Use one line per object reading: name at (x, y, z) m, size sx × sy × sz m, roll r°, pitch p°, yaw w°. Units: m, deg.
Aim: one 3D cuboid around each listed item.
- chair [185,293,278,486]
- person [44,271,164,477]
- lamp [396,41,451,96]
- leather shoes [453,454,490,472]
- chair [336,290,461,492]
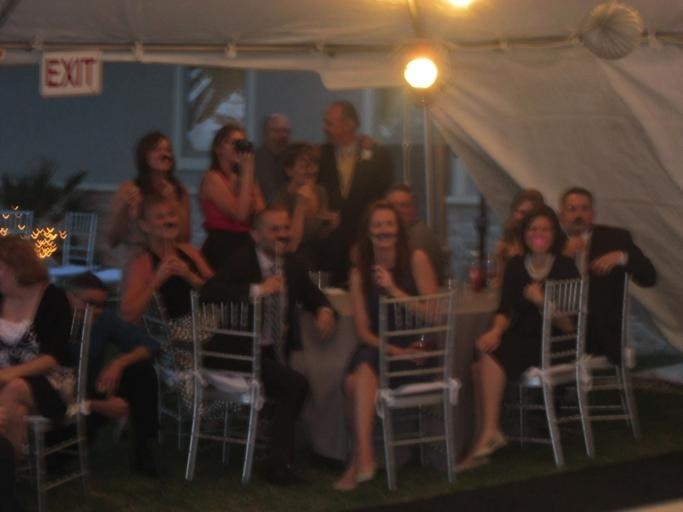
chair at (-0.725, 0.828, 4.650) m, size 0.525 × 1.192 × 0.496 m, roll 2°, pitch -2°, yaw 7°
person at (-1.609, 0.805, 4.846) m, size 0.675 × 1.353 × 0.597 m, roll -16°, pitch -1°, yaw 38°
lamp at (0.584, -1.303, 5.117) m, size 0.373 × 0.342 × 0.259 m, roll 2°, pitch -1°, yaw 5°
leather shoes at (0.836, 1.348, 4.786) m, size 0.258 × 0.110 × 0.085 m, roll -5°, pitch 2°, yaw -26°
chair at (0.444, 0.827, 4.630) m, size 0.627 × 1.234 × 0.462 m, roll 2°, pitch -2°, yaw 2°
